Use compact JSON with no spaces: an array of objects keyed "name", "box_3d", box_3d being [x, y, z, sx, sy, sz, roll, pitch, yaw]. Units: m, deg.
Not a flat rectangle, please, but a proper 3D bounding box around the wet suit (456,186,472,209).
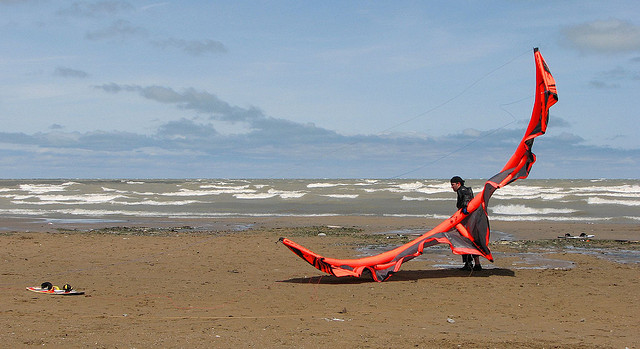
[{"name":"wet suit","box_3d":[6.468,1.036,35.941,0.557,0.600,1.395,2,-1,4]}]
